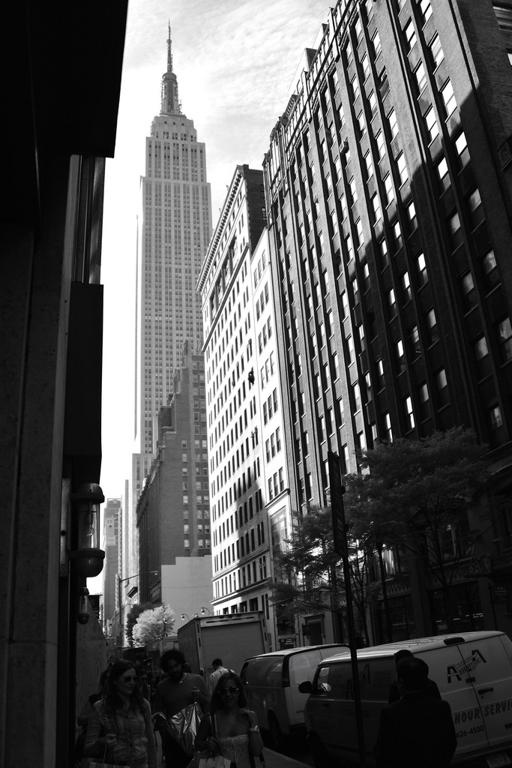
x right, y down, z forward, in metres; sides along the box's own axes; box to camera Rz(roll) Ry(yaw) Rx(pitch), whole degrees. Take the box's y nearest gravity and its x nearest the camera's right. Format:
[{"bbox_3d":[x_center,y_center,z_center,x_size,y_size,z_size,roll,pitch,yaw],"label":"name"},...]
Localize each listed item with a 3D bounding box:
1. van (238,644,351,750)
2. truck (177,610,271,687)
[{"bbox_3d":[1.081,6.472,14.658,2.238,2.343,3.966,4,-21,-18],"label":"van"},{"bbox_3d":[-1.226,8.764,23.211,2.091,2.877,4.553,2,-32,-14],"label":"truck"}]
